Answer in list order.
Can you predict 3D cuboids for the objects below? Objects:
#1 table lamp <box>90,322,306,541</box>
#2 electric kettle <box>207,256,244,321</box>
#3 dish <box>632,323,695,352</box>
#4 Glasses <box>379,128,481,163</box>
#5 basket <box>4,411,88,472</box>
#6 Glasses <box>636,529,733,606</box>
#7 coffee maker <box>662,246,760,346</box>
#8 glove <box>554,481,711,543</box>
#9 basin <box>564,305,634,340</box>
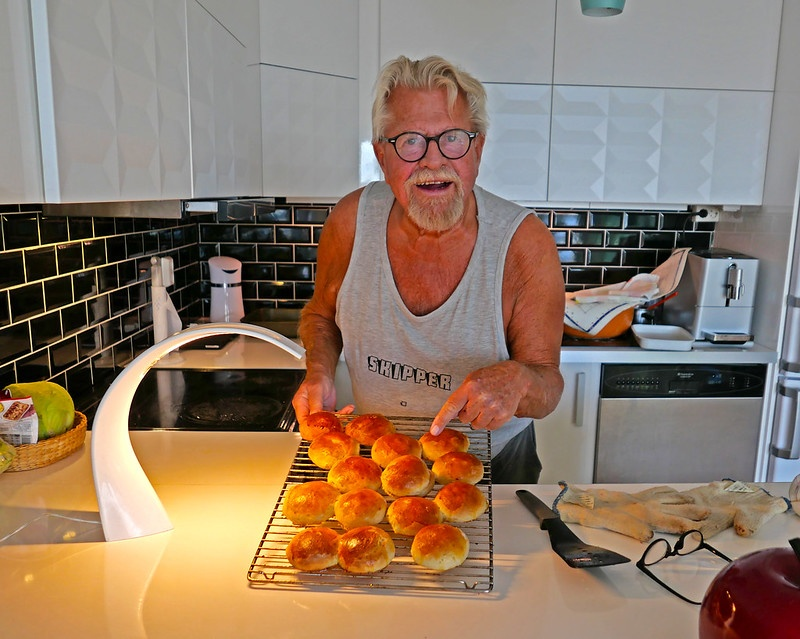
[{"bbox_3d":[-0.432,0.231,1.273,0.456,0.184,0.470,-6,55,-18],"label":"table lamp"},{"bbox_3d":[-0.834,-0.153,2.952,0.163,0.306,0.260,-1,9,-15],"label":"electric kettle"},{"bbox_3d":[1.157,0.075,2.701,0.264,0.083,0.258,5,10,19],"label":"dish"},{"bbox_3d":[0.073,-0.413,1.456,0.203,0.081,0.043,1,8,-3],"label":"Glasses"},{"bbox_3d":[-0.830,0.282,1.422,0.138,0.046,0.174,0,0,-6],"label":"basket"},{"bbox_3d":[0.511,0.409,1.092,0.113,0.081,0.183,10,12,44],"label":"Glasses"},{"bbox_3d":[1.401,-0.100,2.713,0.237,0.407,0.447,3,5,1],"label":"coffee maker"},{"bbox_3d":[0.445,0.376,1.193,0.196,0.053,0.127,4,16,9],"label":"glove"},{"bbox_3d":[0.892,0.025,2.720,0.192,0.077,0.186,-5,2,0],"label":"basin"}]
